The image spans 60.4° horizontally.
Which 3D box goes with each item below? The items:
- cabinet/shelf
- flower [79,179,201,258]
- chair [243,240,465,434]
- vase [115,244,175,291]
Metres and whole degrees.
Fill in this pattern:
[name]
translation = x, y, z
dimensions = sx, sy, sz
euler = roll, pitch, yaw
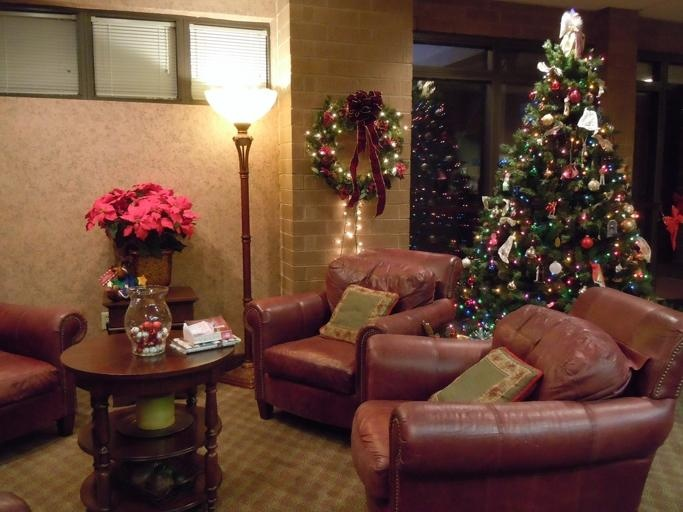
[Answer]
[cabinet/shelf]
translation = -1.335, 0.265, 4.162
dimensions = 0.518, 0.489, 0.381
euler = -1, 3, -17
[flower]
translation = -1.415, -0.233, 4.186
dimensions = 0.553, 0.368, 0.628
euler = 7, 10, 21
[chair]
translation = 0.139, 0.546, 4.031
dimensions = 1.027, 1.080, 1.214
euler = 7, 8, 35
[vase]
translation = -1.406, 0.074, 4.176
dimensions = 0.310, 0.242, 0.312
euler = -1, 2, -4
